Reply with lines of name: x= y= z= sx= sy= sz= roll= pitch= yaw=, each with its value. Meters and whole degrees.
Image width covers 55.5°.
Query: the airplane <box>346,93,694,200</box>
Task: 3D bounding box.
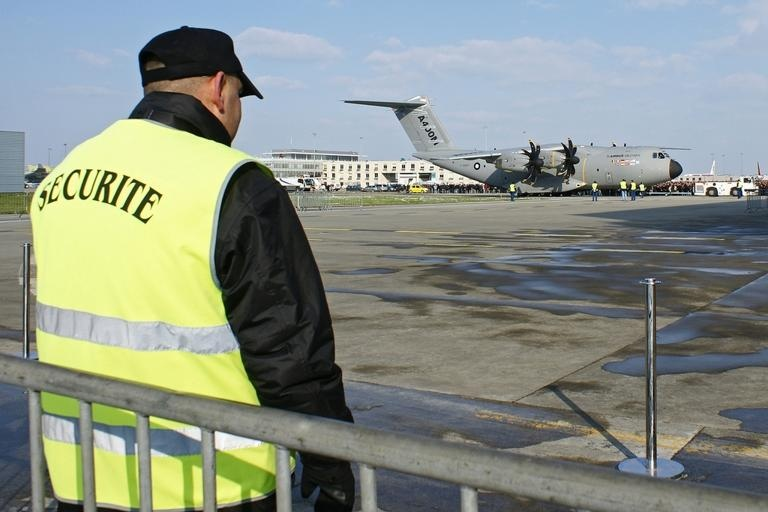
airplane: x=11.944 y=-7.519 z=58.382 sx=22.846 sy=4.054 sz=18.959 roll=2 pitch=8 yaw=28
